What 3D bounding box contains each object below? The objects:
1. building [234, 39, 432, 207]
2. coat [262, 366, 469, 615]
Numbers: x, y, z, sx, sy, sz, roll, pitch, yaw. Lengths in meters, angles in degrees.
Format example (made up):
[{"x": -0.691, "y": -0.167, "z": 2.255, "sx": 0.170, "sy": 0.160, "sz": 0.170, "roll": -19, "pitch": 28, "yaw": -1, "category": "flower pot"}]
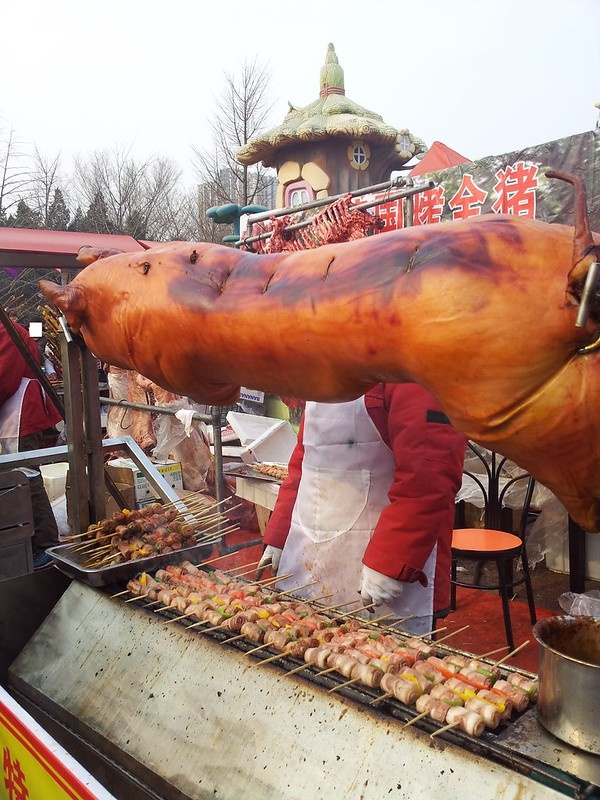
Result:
[{"x": 0.738, "y": -5.819, "z": 13.843, "sx": 3.865, "sy": 3.302, "sz": 3.698, "roll": 5, "pitch": 5, "yaw": 34, "category": "building"}, {"x": 0.275, "y": 0.382, "z": 2.681, "sx": 0.663, "sy": 1.043, "sz": 1.138, "roll": 2, "pitch": -7, "yaw": -27, "category": "coat"}]
